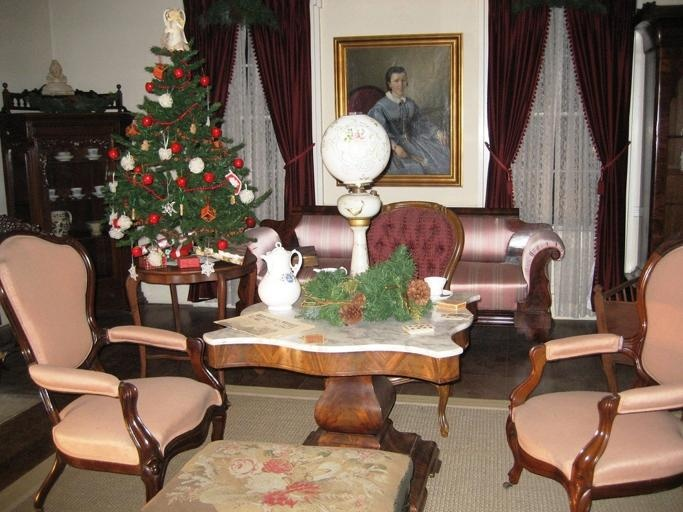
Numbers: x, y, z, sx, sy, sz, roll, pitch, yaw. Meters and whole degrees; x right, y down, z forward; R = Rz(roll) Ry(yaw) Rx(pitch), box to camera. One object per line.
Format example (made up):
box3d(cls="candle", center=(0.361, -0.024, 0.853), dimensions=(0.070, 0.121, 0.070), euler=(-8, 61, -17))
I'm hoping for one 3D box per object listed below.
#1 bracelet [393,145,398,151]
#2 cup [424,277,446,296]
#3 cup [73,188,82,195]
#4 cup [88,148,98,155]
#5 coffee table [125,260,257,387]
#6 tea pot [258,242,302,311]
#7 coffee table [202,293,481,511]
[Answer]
box3d(cls="bracelet", center=(0.586, -1.187, 6.125), dimensions=(0.044, 0.063, 0.018), euler=(0, -1, 39))
box3d(cls="cup", center=(0.561, 0.174, 3.307), dimensions=(0.122, 0.096, 0.114), euler=(-1, -5, 0))
box3d(cls="cup", center=(-2.907, -0.713, 6.142), dimensions=(0.078, 0.060, 0.064), euler=(3, -2, -36))
box3d(cls="cup", center=(-2.669, -1.121, 5.997), dimensions=(0.071, 0.051, 0.073), euler=(1, 3, 0))
box3d(cls="coffee table", center=(-1.250, 0.551, 4.770), dimensions=(0.990, 1.134, 0.992), euler=(0, 10, 5))
box3d(cls="tea pot", center=(-0.342, 0.123, 3.374), dimensions=(0.337, 0.472, 0.304), euler=(-1, 5, -21))
box3d(cls="coffee table", center=(0.079, 0.555, 3.267), dimensions=(1.156, 0.929, 1.143), euler=(0, 5, 8))
